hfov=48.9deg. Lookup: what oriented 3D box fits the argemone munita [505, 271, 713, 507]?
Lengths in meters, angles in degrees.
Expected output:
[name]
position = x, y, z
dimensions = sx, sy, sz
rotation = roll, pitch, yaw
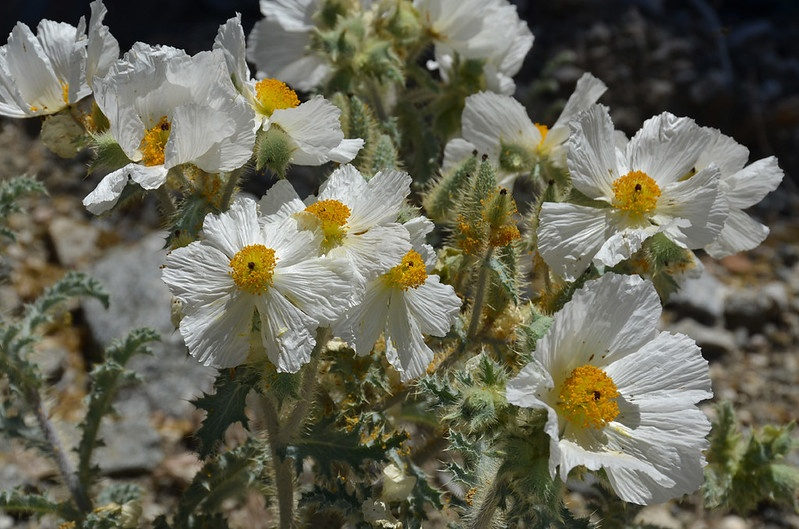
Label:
[argemone munita]
position = 0.744, 0.472, 2.950
dimensions = 0.690, 0.162, 0.737
rotation = -41, 81, -12
